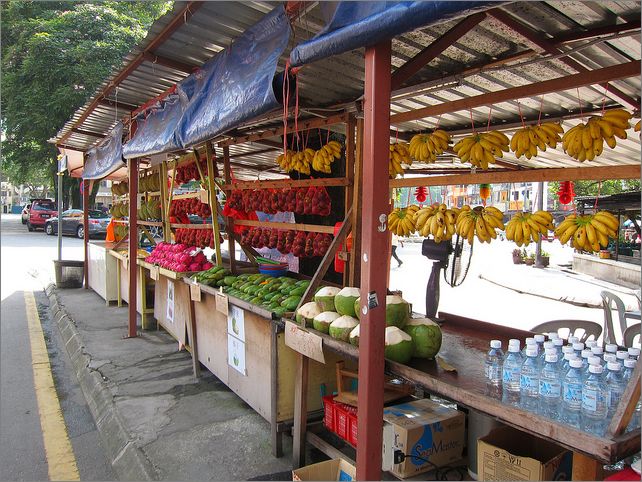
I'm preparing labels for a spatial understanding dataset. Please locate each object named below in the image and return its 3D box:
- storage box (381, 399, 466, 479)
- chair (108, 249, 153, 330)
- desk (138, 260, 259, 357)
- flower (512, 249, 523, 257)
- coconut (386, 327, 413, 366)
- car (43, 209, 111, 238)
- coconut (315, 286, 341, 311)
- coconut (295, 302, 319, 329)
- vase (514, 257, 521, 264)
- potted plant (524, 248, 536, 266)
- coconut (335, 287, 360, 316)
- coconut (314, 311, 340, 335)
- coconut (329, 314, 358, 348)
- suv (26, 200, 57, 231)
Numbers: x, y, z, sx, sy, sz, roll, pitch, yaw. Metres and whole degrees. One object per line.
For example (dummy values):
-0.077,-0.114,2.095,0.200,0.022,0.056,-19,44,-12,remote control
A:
0.734,1.454,3.719,0.681,0.520,0.492,-2,4,-39,storage box
-3.533,0.782,8.593,0.881,1.853,0.938,-4,12,-40,chair
-1.884,0.912,7.142,0.964,1.135,1.591,-3,8,-33,desk
8.831,0.531,20.737,0.368,0.180,0.370,1,13,18,flower
0.577,0.761,3.387,0.207,0.270,0.235,-6,-15,6,coconut
-11.542,-0.790,21.754,4.107,1.609,1.755,1,1,29,car
0.055,0.489,4.042,0.173,0.167,0.177,2,4,38,coconut
-0.122,0.620,3.975,0.166,0.204,0.186,3,14,0,coconut
8.823,0.852,20.696,0.256,0.202,0.271,1,-1,-9,vase
9.165,0.680,20.429,0.611,0.690,0.598,3,6,32,potted plant
0.191,0.482,3.838,0.199,0.234,0.195,2,2,-43,coconut
0.033,0.653,3.796,0.158,0.132,0.164,-3,3,-26,coconut
0.163,0.686,3.611,0.166,0.180,0.177,-1,3,17,coconut
-16.434,-1.559,26.970,1.308,1.407,2.879,-5,12,-30,suv
